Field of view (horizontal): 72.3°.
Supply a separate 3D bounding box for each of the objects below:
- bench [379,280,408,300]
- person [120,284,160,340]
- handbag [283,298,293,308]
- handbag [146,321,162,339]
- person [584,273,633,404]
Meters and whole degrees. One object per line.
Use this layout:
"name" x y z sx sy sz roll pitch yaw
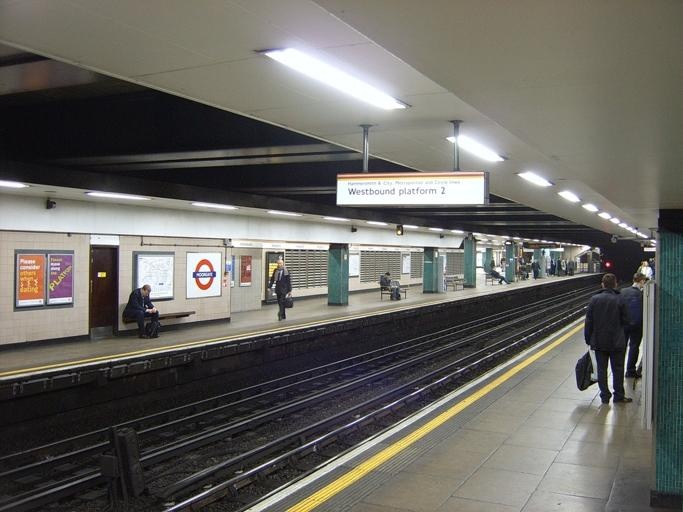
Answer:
"bench" 2.637 1.599 23.771 0.811 1.197 1.324 1 1 40
"person" -5.618 1.516 13.115 0.933 1.449 0.717 0 0 -10
"handbag" -1.822 1.575 15.881 0.401 0.418 0.191 1 4 23
"handbag" -5.275 2.049 13.065 0.408 0.486 0.284 2 -8 3
"person" 3.915 1.233 6.912 0.523 1.936 0.615 0 1 28
